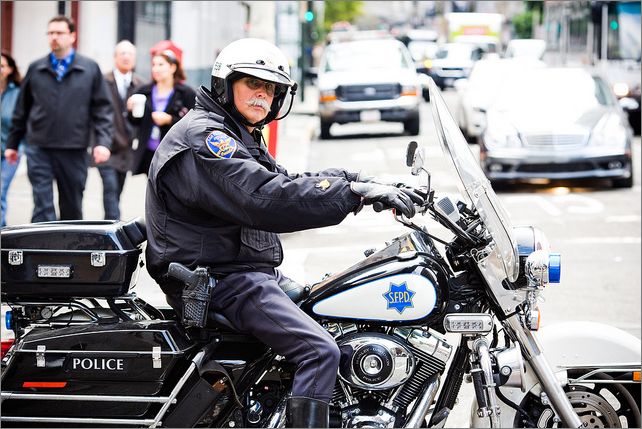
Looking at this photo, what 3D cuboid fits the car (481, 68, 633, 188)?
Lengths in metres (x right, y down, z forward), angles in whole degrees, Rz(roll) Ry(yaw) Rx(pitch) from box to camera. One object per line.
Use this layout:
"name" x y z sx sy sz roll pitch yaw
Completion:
"car" 3.769 -1.441 14.808 1.443 1.239 2.623 -1 2 8

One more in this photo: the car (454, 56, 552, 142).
"car" 3.642 -2.456 19.345 1.489 1.238 2.570 0 5 3

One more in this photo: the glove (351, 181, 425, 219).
"glove" 0.447 -0.131 6.647 0.331 0.113 0.287 28 -2 -2
